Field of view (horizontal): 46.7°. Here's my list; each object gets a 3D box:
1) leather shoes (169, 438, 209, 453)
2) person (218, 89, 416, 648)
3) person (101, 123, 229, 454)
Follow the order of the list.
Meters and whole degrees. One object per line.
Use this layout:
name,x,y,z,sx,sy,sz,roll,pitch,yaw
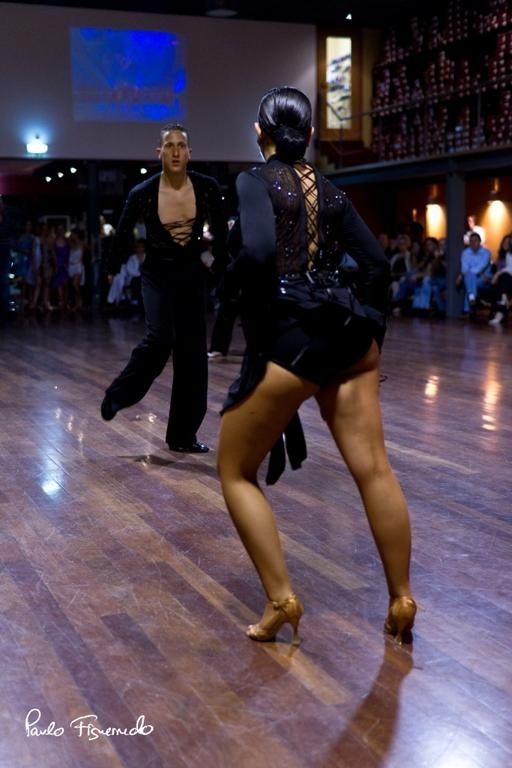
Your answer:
leather shoes,-0.421,0.409,3.844,0.269,0.111,0.098,-3,5,0
person,0.143,-0.019,1.437,0.465,1.367,0.261,-3,6,-22
person,-0.568,-0.541,3.740,0.795,1.994,0.442,-1,5,3
